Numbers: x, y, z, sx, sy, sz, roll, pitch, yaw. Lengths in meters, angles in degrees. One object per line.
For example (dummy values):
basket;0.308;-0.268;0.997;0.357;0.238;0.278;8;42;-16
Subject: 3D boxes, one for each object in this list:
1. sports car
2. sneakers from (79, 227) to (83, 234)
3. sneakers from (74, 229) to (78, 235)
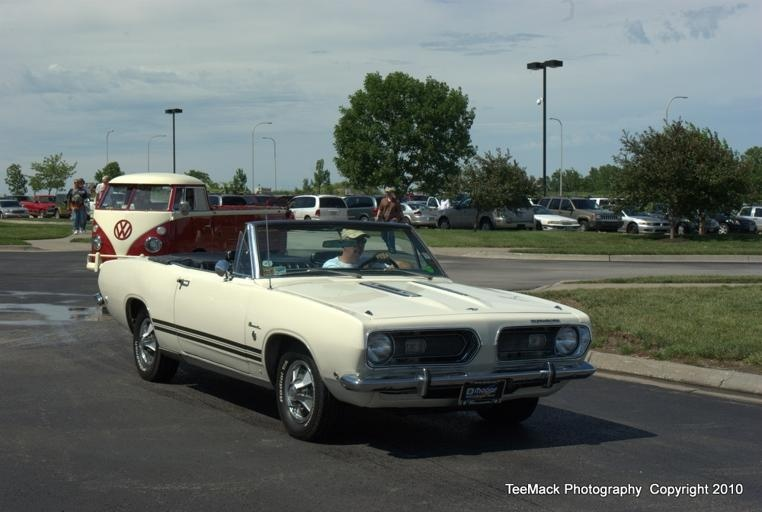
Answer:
sports car;-0.513;0.679;8.631;5.110;2.103;2.142;7;11;38
sneakers;-11.545;-0.970;30.345;0.144;0.205;0.463;-2;6;-10
sneakers;-11.915;-0.951;30.920;0.184;0.227;0.582;-4;-1;-27
